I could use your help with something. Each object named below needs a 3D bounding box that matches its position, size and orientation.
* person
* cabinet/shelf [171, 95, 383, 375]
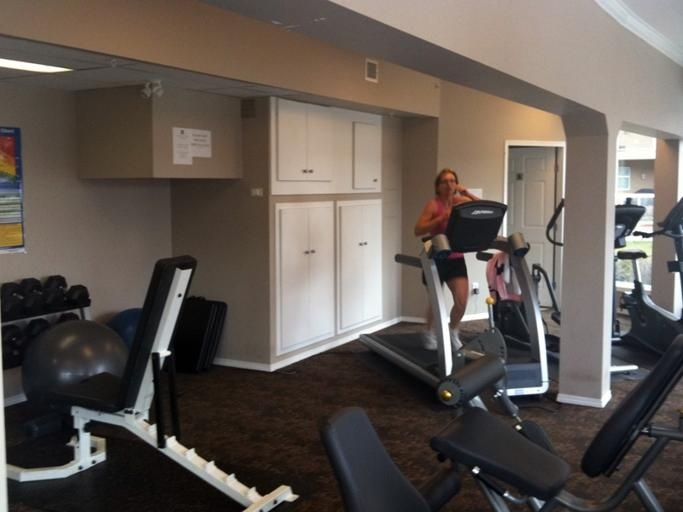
[{"bbox_3d":[1.067,0.045,5.252,0.685,1.825,0.568,-1,7,-13],"label":"person"},{"bbox_3d":[-0.505,-0.305,5.929,2.181,2.789,0.918,-7,11,-34],"label":"cabinet/shelf"}]
